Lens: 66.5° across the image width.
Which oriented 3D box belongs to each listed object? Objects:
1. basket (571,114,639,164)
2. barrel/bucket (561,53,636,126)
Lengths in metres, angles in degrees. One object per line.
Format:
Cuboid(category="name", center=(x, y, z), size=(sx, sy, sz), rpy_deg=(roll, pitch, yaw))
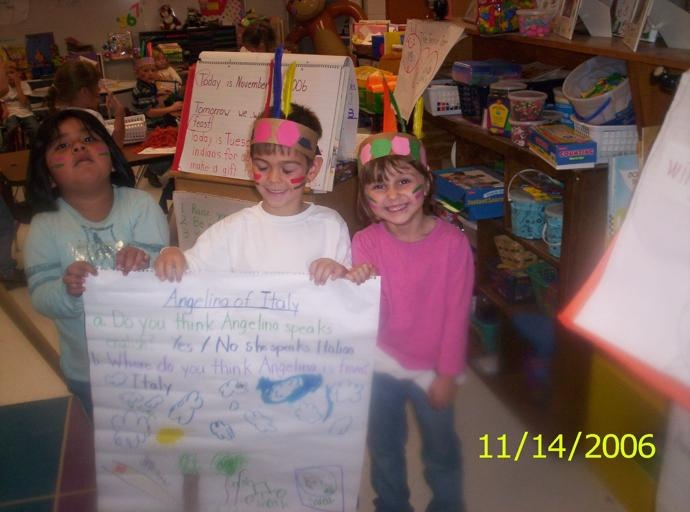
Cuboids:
Cuboid(category="basket", center=(1.088, -0.490, 2.194), size=(0.252, 0.107, 0.173), rpy_deg=(-10, 24, -25))
Cuboid(category="barrel/bucket", center=(1.085, -0.713, 2.262), size=(0.274, 0.252, 0.326), rpy_deg=(10, 25, 14))
